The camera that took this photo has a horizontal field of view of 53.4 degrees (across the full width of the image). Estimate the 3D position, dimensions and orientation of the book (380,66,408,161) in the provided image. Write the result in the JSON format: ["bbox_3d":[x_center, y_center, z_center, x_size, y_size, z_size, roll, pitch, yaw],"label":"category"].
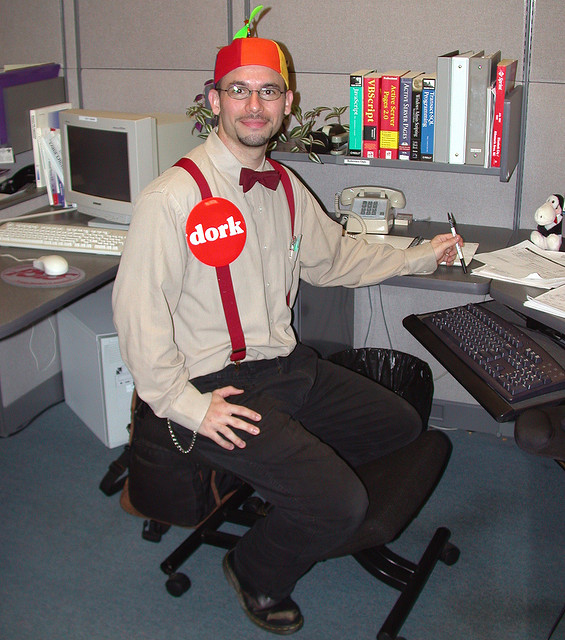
[{"bbox_3d":[0.365,-0.671,1.841,0.085,0.213,0.233,7,34,6],"label":"book"}]

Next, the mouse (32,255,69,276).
[{"bbox_3d":[-0.646,-0.164,1.572,0.091,0.033,0.056,28,31,37],"label":"mouse"}]

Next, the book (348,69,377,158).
[{"bbox_3d":[0.270,-0.686,1.878,0.084,0.221,0.241,2,36,11],"label":"book"}]

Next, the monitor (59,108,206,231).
[{"bbox_3d":[-0.593,-0.580,2.259,0.549,0.490,0.596,12,22,21],"label":"monitor"}]

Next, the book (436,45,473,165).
[{"bbox_3d":[0.530,-0.653,1.733,0.098,0.259,0.294,5,28,12],"label":"book"}]

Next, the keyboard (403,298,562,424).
[{"bbox_3d":[0.439,0.112,1.268,0.263,0.078,0.406,-10,35,-15],"label":"keyboard"}]

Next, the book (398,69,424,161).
[{"bbox_3d":[0.416,-0.663,1.817,0.089,0.219,0.243,1,23,10],"label":"book"}]

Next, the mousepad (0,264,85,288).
[{"bbox_3d":[-0.674,-0.125,1.580,0.243,0.022,0.186,5,19,12],"label":"mousepad"}]

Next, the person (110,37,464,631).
[{"bbox_3d":[0.082,0.038,1.479,1.005,1.337,0.671,-10,13,-38],"label":"person"}]

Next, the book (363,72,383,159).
[{"bbox_3d":[0.299,-0.691,1.861,0.082,0.215,0.244,3,22,11],"label":"book"}]

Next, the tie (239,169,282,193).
[{"bbox_3d":[-0.057,-0.334,1.344,0.082,0.053,0.020,-13,29,-21],"label":"tie"}]

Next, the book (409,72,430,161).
[{"bbox_3d":[0.440,-0.660,1.801,0.089,0.218,0.242,0,21,10],"label":"book"}]

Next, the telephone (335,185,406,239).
[{"bbox_3d":[0.283,-0.406,2.025,0.297,0.132,0.191,8,37,25],"label":"telephone"}]
